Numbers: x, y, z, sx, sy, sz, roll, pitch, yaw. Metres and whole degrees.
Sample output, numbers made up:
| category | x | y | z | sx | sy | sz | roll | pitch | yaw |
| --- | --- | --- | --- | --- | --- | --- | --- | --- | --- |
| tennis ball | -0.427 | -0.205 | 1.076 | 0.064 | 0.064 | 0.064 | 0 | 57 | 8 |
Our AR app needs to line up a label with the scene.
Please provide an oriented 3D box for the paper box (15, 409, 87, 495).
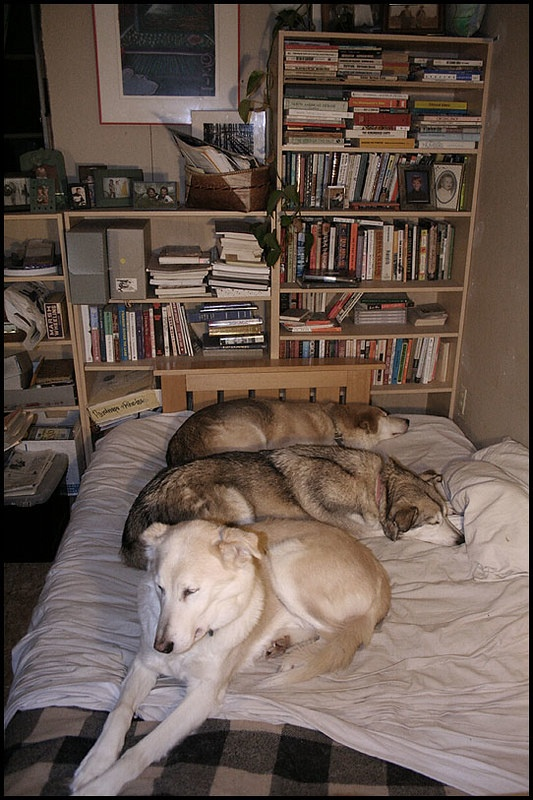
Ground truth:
| category | x | y | z | sx | sy | sz | roll | pitch | yaw |
| --- | --- | --- | --- | --- | --- | --- | --- | --- | --- |
| paper box | -1.193 | 0.299 | 3.081 | 0.371 | 0.384 | 0.270 | -6 | 27 | -17 |

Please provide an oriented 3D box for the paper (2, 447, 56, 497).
| category | x | y | z | sx | sy | sz | roll | pitch | yaw |
| --- | --- | --- | --- | --- | --- | --- | --- | --- | --- |
| paper | -1.264 | 0.373 | 2.928 | 0.172 | 0.073 | 0.239 | 3 | 37 | 1 |

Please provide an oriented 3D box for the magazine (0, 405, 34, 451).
| category | x | y | z | sx | sy | sz | roll | pitch | yaw |
| --- | --- | --- | --- | --- | --- | --- | --- | --- | --- |
| magazine | -1.385 | 0.152 | 3.092 | 0.068 | 0.194 | 0.162 | 23 | 6 | 25 |

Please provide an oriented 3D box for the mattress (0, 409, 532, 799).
| category | x | y | z | sx | sy | sz | roll | pitch | yaw |
| --- | --- | --- | --- | --- | --- | --- | --- | --- | --- |
| mattress | 0.321 | 0.611 | 1.771 | 1.057 | 0.277 | 1.090 | 2 | 34 | 4 |
